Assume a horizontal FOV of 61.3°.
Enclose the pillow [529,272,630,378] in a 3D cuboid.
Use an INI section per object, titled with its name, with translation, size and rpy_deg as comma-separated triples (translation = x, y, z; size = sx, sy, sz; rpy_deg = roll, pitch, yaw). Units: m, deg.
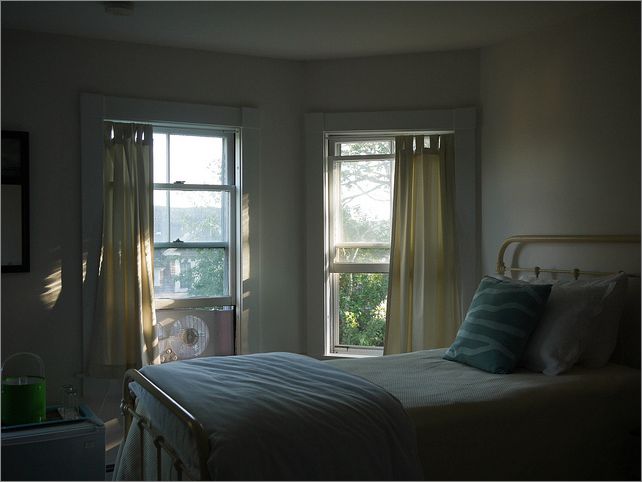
[pillow]
translation = 1.441, 0.450, 3.099
size = 0.508, 0.566, 0.336
rpy_deg = -2, 7, -33
